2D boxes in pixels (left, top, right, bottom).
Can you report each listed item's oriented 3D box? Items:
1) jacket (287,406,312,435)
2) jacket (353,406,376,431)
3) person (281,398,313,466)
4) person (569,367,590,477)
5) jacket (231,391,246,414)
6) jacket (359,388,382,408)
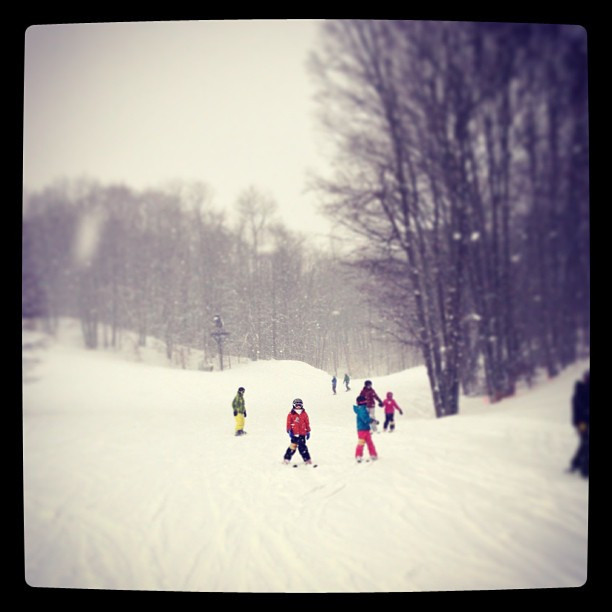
[{"bbox_3d":[-0.120,1.606,9.279,0.387,0.534,0.264,2,-23,-8],"label":"jacket"},{"bbox_3d":[0.796,1.516,9.246,0.229,0.343,0.232,-2,1,-17],"label":"jacket"},{"bbox_3d":[-0.098,1.729,9.344,0.447,0.888,0.436,-5,-5,41],"label":"person"},{"bbox_3d":[3.441,1.469,8.601,0.291,1.322,0.126,-2,-4,18],"label":"person"},{"bbox_3d":[-0.959,1.415,9.939,0.109,0.322,0.243,-4,-5,40],"label":"jacket"},{"bbox_3d":[0.908,1.289,9.479,0.301,0.271,0.215,-1,-5,-10],"label":"jacket"}]
